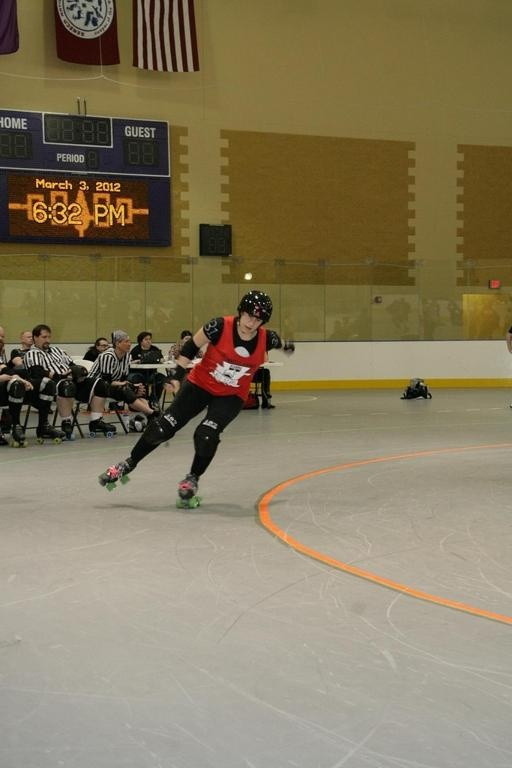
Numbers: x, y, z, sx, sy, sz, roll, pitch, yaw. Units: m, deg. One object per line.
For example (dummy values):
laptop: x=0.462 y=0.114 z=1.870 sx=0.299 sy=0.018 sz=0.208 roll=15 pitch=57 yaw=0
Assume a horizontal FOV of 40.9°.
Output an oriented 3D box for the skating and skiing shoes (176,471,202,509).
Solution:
skating and skiing shoes: x=-0.442 y=0.699 z=4.461 sx=0.149 sy=0.191 sz=0.192 roll=0 pitch=2 yaw=-4

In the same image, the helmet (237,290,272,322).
helmet: x=0.028 y=-0.473 z=4.177 sx=0.173 sy=0.204 sz=0.216 roll=13 pitch=10 yaw=-18

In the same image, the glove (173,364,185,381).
glove: x=-0.492 y=-0.063 z=4.421 sx=0.057 sy=0.119 sz=0.129 roll=1 pitch=30 yaw=4

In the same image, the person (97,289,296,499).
person: x=-0.374 y=0.111 z=4.444 sx=1.044 sy=1.339 sz=0.525 roll=1 pitch=3 yaw=16

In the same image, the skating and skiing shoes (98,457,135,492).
skating and skiing shoes: x=-0.981 y=0.621 z=4.666 sx=0.167 sy=0.087 sz=0.296 roll=-36 pitch=-4 yaw=-27
